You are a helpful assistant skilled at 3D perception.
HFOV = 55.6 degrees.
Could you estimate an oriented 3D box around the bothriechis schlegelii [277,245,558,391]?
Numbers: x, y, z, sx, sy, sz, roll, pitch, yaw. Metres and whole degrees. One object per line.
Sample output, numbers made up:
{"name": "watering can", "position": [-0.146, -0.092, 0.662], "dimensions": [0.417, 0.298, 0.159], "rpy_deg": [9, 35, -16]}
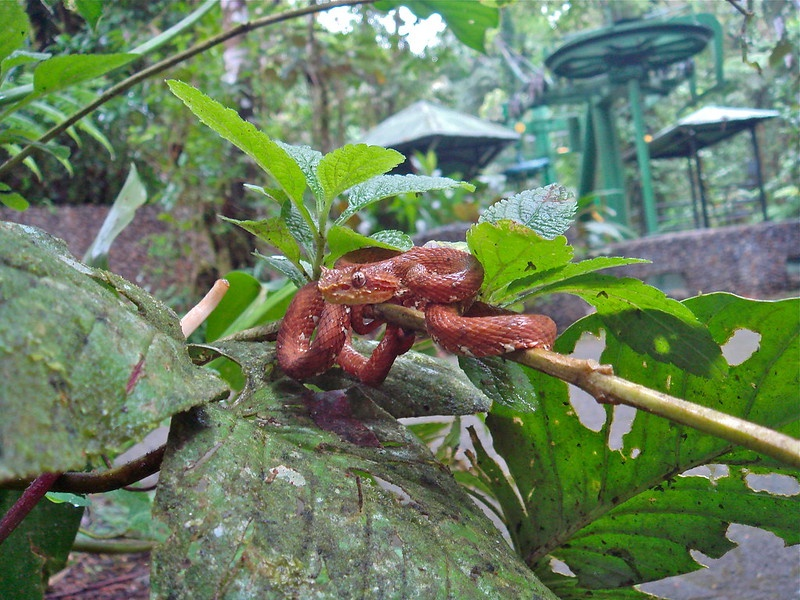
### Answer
{"name": "bothriechis schlegelii", "position": [-0.002, 0.036, 2.170], "dimensions": [0.489, 0.252, 0.614], "rpy_deg": [12, 17, 30]}
